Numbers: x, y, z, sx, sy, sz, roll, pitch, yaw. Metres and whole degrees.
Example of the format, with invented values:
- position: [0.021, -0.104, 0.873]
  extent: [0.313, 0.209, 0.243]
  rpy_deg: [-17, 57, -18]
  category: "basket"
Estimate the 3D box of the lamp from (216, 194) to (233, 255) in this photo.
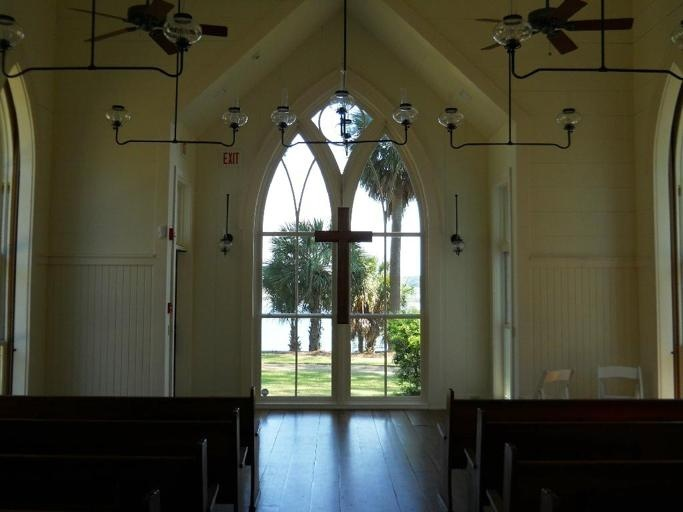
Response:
- position: [-1.618, -0.443, 9.403]
  extent: [0.195, 0.846, 0.277]
  rpy_deg: [-1, 4, -10]
  category: "lamp"

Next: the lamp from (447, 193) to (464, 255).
- position: [1.614, -0.441, 9.449]
  extent: [0.194, 0.859, 0.204]
  rpy_deg: [3, 5, 38]
  category: "lamp"
